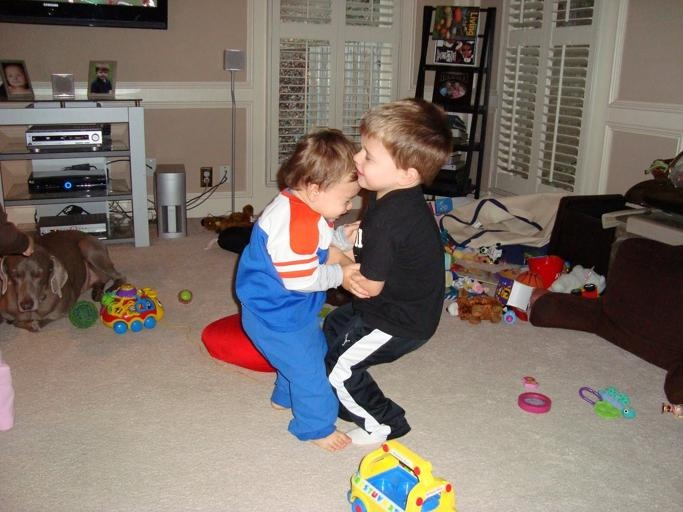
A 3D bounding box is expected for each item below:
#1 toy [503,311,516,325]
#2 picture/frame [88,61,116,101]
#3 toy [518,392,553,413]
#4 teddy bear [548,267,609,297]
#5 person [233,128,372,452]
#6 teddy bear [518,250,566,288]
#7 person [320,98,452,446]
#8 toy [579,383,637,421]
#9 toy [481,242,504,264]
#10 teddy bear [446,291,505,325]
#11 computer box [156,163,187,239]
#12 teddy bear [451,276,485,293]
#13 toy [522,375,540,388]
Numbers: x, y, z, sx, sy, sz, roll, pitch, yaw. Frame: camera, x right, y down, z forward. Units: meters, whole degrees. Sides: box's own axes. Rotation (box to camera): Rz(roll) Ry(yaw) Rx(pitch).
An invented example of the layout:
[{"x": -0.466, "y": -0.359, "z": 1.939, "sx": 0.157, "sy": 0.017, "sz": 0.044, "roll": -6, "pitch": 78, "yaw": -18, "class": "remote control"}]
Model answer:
[{"x": 0.966, "y": 0.348, "z": 3.032, "sx": 0.069, "sy": 0.068, "sz": 0.066, "roll": 5, "pitch": 21, "yaw": 16, "class": "toy"}, {"x": -1.808, "y": -1.331, "z": 3.995, "sx": 0.226, "sy": 0.245, "sz": 0.269, "roll": -9, "pitch": 22, "yaw": -19, "class": "picture/frame"}, {"x": 0.848, "y": 0.639, "z": 2.318, "sx": 0.140, "sy": 0.039, "sz": 0.124, "roll": 7, "pitch": 22, "yaw": 20, "class": "toy"}, {"x": 1.394, "y": 0.145, "z": 3.126, "sx": 0.245, "sy": 0.087, "sz": 0.193, "roll": -12, "pitch": 19, "yaw": 2, "class": "teddy bear"}, {"x": -0.117, "y": 0.135, "z": 2.077, "sx": 0.603, "sy": 1.133, "sz": 0.528, "roll": -3, "pitch": 17, "yaw": -16, "class": "person"}, {"x": 1.272, "y": 0.085, "z": 3.303, "sx": 0.215, "sy": 0.235, "sz": 0.181, "roll": 0, "pitch": -2, "yaw": 17, "class": "teddy bear"}, {"x": 0.172, "y": 0.092, "z": 1.973, "sx": 0.478, "sy": 1.278, "sz": 0.313, "roll": -2, "pitch": 21, "yaw": -2, "class": "person"}, {"x": 1.169, "y": 0.648, "z": 2.317, "sx": 0.155, "sy": 0.039, "sz": 0.122, "roll": 1, "pitch": 41, "yaw": -9, "class": "toy"}, {"x": 1.090, "y": -0.017, "z": 3.845, "sx": 0.199, "sy": 0.112, "sz": 0.132, "roll": -6, "pitch": 21, "yaw": -14, "class": "toy"}, {"x": 0.780, "y": 0.310, "z": 3.072, "sx": 0.313, "sy": 0.111, "sz": 0.199, "roll": 3, "pitch": 21, "yaw": 12, "class": "teddy bear"}, {"x": -1.354, "y": -0.392, "z": 4.296, "sx": 0.230, "sy": 0.507, "sz": 0.355, "roll": -1, "pitch": 0, "yaw": -9, "class": "computer box"}, {"x": 0.814, "y": 0.183, "z": 3.328, "sx": 0.119, "sy": 0.040, "sz": 0.124, "roll": 21, "pitch": 13, "yaw": 37, "class": "teddy bear"}, {"x": 0.889, "y": 0.579, "z": 2.474, "sx": 0.074, "sy": 0.034, "sz": 0.084, "roll": 3, "pitch": 21, "yaw": 10, "class": "toy"}]
